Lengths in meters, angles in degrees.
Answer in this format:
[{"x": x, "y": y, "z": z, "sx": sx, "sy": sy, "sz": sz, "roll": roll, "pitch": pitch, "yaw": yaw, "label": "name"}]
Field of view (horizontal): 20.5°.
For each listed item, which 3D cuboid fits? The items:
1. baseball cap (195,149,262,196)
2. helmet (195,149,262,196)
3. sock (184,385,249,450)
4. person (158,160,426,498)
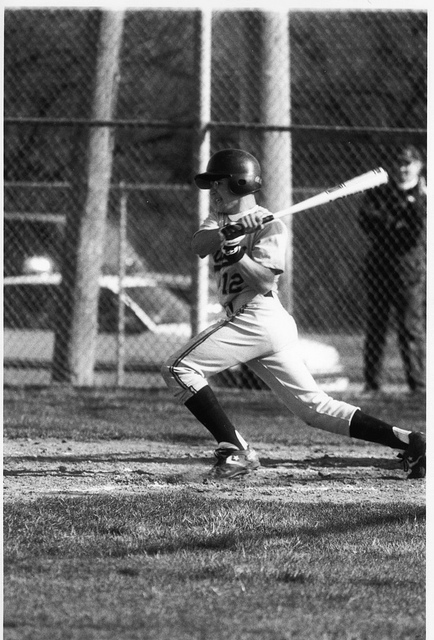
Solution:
[{"x": 0.066, "y": -0.676, "z": 5.379, "sx": 0.311, "sy": 0.184, "sz": 0.236, "roll": 3, "pitch": 13, "yaw": 16, "label": "baseball cap"}, {"x": 0.039, "y": -0.665, "z": 5.381, "sx": 0.327, "sy": 0.201, "sz": 0.234, "roll": -1, "pitch": 7, "yaw": -4, "label": "helmet"}, {"x": 0.000, "y": 0.471, "z": 5.253, "sx": 0.169, "sy": 0.444, "sz": 0.151, "roll": -31, "pitch": -50, "yaw": -1, "label": "sock"}, {"x": 0.350, "y": 0.015, "z": 5.853, "sx": 1.011, "sy": 1.523, "sz": 1.640, "roll": 2, "pitch": 5, "yaw": 7, "label": "person"}]
